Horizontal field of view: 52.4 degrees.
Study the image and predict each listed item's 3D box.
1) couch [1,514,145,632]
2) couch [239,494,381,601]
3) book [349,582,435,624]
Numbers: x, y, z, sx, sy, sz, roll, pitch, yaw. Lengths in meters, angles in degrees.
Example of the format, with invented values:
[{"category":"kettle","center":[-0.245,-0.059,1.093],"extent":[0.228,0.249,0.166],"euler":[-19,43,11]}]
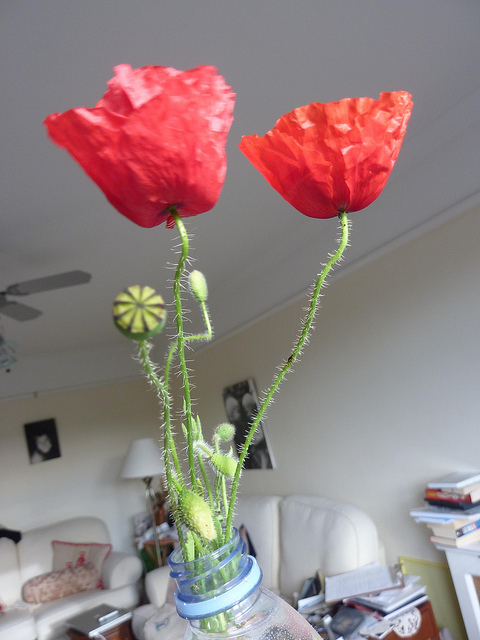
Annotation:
[{"category":"couch","center":[-1.430,2.055,4.008],"extent":[1.076,0.783,0.817],"euler":[5,-26,-41]},{"category":"couch","center":[0.402,1.253,2.944],"extent":[0.559,0.649,0.630],"euler":[-18,-32,-1]},{"category":"book","center":[0.647,1.222,2.103],"extent":[0.191,0.048,0.194],"euler":[-5,-6,44]}]
